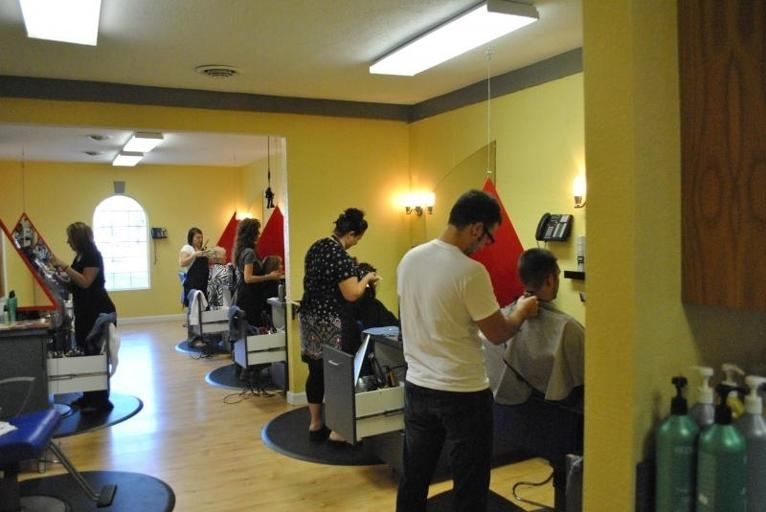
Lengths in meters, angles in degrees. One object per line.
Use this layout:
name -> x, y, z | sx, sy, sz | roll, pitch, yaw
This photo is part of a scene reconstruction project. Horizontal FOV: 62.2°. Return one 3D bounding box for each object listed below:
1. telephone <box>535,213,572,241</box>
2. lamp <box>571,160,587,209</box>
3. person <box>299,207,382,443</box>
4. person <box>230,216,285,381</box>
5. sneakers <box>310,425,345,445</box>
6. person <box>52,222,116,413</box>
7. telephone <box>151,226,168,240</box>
telephone -> 1.151, -0.197, 4.235 | 0.100, 0.172, 0.231 | 25, -12, -28
lamp -> 1.246, -0.450, 4.031 | 0.067, 0.292, 0.228 | 0, 6, 12
person -> -0.327, 0.469, 4.250 | 0.535, 1.512, 0.495 | 1, 3, -43
person -> -1.170, 0.265, 5.980 | 0.422, 1.283, 0.408 | -4, 25, -16
sneakers -> -0.376, 1.258, 4.432 | 0.243, 0.101, 0.113 | 0, -1, -36
person -> -2.464, 0.467, 5.176 | 0.511, 1.477, 0.456 | 0, -2, -19
telephone -> -3.345, -0.350, 9.498 | 0.158, 0.206, 0.291 | 1, -1, -12
